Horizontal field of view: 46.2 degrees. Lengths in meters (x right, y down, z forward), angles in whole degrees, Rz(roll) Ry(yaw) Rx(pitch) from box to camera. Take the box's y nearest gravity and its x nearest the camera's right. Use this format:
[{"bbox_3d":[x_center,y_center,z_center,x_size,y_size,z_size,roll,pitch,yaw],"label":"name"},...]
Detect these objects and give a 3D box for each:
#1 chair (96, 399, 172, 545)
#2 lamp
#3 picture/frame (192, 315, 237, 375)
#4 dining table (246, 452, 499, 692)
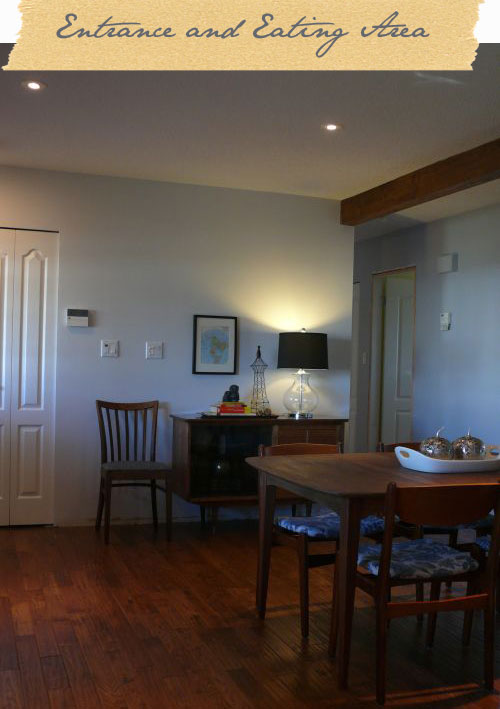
[{"bbox_3d":[-0.811,0.773,4.012,0.505,0.900,0.633,2,-4,-14],"label":"chair"},{"bbox_3d":[0.390,0.156,4.528,0.383,0.647,0.368,2,-4,-19],"label":"lamp"},{"bbox_3d":[-0.289,-0.072,4.452,0.468,0.593,0.028,1,-2,-25],"label":"picture/frame"},{"bbox_3d":[0.441,0.604,2.303,0.958,0.689,0.777,-1,5,-21],"label":"dining table"}]
